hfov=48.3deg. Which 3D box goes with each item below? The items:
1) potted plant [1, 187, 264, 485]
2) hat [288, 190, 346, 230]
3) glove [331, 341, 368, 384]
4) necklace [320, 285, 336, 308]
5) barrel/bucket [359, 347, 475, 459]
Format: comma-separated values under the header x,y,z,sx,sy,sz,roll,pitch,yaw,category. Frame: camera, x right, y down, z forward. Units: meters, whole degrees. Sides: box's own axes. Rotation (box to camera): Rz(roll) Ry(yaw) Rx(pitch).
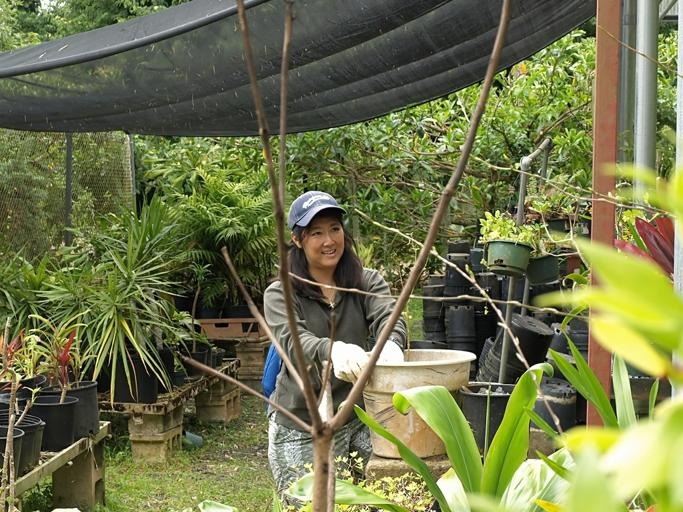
x,y,z,sx,sy,sz,roll,pitch,yaw,category
-1.500,0.387,5.629,1.514,1.910,1.880,2,-1,19,potted plant
-0.121,-0.218,3.536,0.229,0.175,0.315,-19,-3,-12,hat
0.029,0.431,3.107,0.151,0.237,0.090,0,-4,3,glove
-0.053,0.188,3.457,0.076,0.102,0.108,-1,-6,-10,necklace
0.301,0.616,3.428,0.554,0.487,0.584,-1,11,0,barrel/bucket
